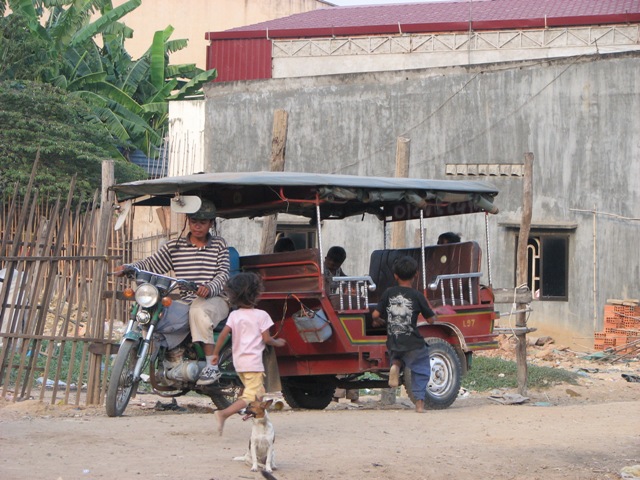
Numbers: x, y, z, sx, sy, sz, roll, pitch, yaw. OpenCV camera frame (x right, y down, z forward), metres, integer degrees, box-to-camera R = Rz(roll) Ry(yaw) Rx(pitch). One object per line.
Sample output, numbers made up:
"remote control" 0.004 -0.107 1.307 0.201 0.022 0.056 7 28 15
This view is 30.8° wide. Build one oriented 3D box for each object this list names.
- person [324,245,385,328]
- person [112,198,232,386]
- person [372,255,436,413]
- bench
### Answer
"person" 0.357 0.812 19.311 0.662 1.435 0.657 -3 3 -9
"person" -1.999 0.629 17.832 1.194 2.525 0.821 -1 -6 4
"person" 1.327 1.484 18.707 0.891 2.473 1.044 4 12 24
"bench" 0.758 0.622 19.223 2.682 0.948 1.774 2 -5 -40
